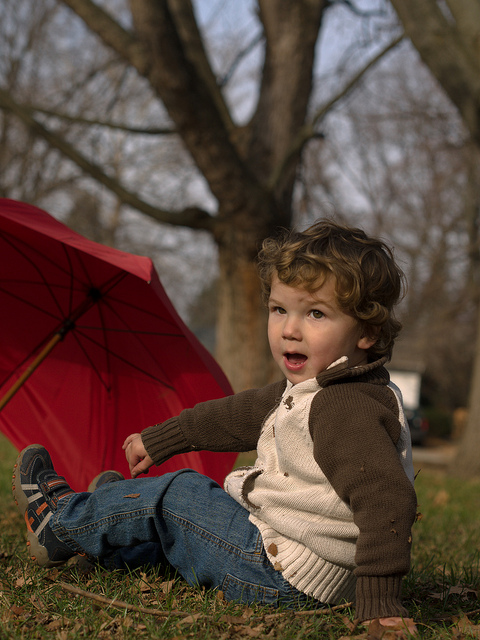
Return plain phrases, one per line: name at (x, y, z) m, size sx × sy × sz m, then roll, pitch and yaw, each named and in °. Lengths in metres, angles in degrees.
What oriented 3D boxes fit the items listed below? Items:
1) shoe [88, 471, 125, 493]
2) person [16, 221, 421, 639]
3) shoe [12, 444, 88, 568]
shoe at (-0.492, 0.589, 2.536) m, size 0.109 × 0.092 × 0.099 m, roll 2°, pitch 6°, yaw -13°
person at (0.013, 0.287, 2.205) m, size 1.176 × 1.235 × 0.373 m, roll -3°, pitch -7°, yaw 29°
shoe at (-0.694, 0.612, 2.471) m, size 0.196 × 0.513 × 0.280 m, roll 6°, pitch -23°, yaw -43°
